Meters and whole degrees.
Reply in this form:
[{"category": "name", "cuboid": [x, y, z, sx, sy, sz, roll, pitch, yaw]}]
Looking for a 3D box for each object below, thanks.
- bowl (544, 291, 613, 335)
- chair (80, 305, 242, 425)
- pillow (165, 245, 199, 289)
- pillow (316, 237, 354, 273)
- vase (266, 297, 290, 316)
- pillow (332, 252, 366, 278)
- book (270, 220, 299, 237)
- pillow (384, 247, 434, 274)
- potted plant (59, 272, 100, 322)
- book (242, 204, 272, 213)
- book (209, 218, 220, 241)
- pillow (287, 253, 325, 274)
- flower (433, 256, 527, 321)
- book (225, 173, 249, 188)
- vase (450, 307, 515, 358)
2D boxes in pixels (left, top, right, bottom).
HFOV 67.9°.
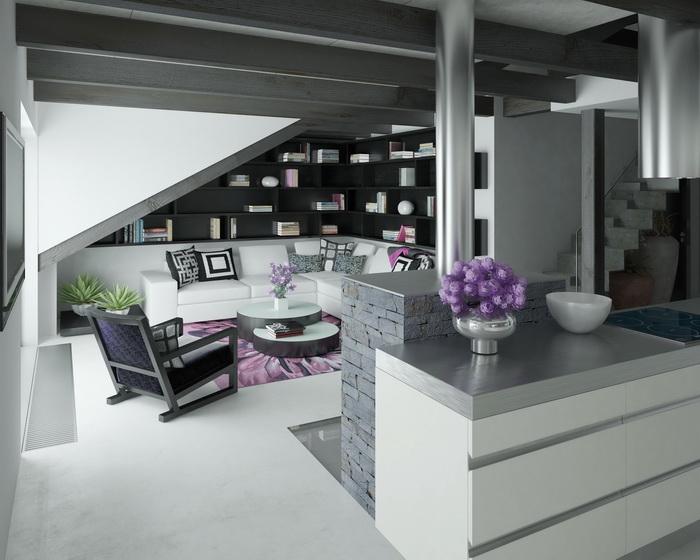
[{"category": "bowl", "cuboid": [1.191, 0.148, 2.745, 0.300, 0.131, 0.268, 1, 1, -8]}, {"category": "chair", "cuboid": [-1.540, 0.607, 4.385, 0.793, 0.874, 0.900, 8, 15, 33]}, {"category": "pillow", "cuboid": [-2.292, -0.199, 7.164, 0.184, 0.470, 0.571, -22, -8, 37]}, {"category": "pillow", "cuboid": [-0.252, -0.443, 8.376, 0.638, 0.493, 0.170, 3, -22, 8]}, {"category": "vase", "cuboid": [-0.838, 0.311, 6.146, 0.203, 0.216, 0.343, -1, 4, -19]}, {"category": "pillow", "cuboid": [0.016, -0.252, 8.034, 0.585, 0.349, 0.157, 1, -16, 35]}, {"category": "book", "cuboid": [-1.085, -0.851, 8.730, 0.416, 0.192, 0.318, -2, 3, -37]}, {"category": "pillow", "cuboid": [0.845, -0.256, 6.962, 0.526, 0.440, 0.168, -11, -21, 29]}, {"category": "potted plant", "cuboid": [-3.613, 0.235, 7.062, 0.547, 0.458, 0.484, 8, 10, -16]}, {"category": "book", "cuboid": [-1.492, -1.171, 8.500, 0.457, 0.126, 0.394, -3, 11, -13]}, {"category": "book", "cuboid": [-2.101, -0.811, 8.121, 0.161, 0.355, 0.423, 0, 1, -28]}, {"category": "pillow", "cuboid": [-0.690, -0.262, 8.191, 0.424, 0.213, 0.093, 0, -8, -10]}, {"category": "flower", "cuboid": [0.575, 0.026, 2.444, 0.354, 0.272, 0.312, -1, 4, -23]}, {"category": "book", "cuboid": [-1.757, -1.575, 8.266, 0.374, 0.193, 0.265, -5, 13, -23]}, {"category": "vase", "cuboid": [0.597, 0.237, 2.427, 0.270, 0.150, 0.242, -1, 3, -14]}]
